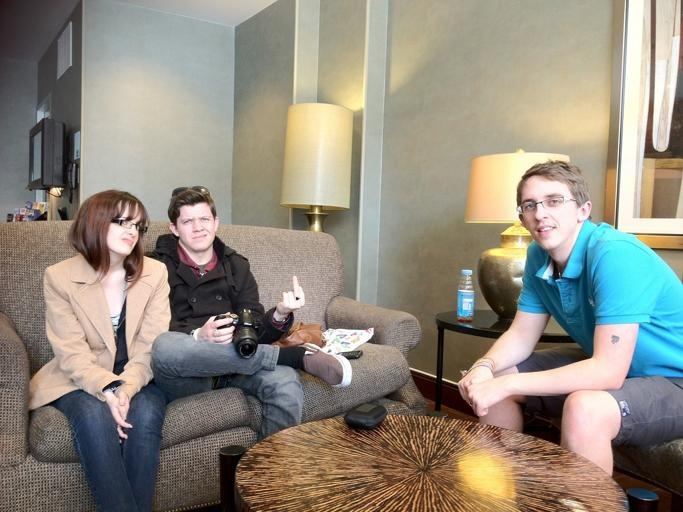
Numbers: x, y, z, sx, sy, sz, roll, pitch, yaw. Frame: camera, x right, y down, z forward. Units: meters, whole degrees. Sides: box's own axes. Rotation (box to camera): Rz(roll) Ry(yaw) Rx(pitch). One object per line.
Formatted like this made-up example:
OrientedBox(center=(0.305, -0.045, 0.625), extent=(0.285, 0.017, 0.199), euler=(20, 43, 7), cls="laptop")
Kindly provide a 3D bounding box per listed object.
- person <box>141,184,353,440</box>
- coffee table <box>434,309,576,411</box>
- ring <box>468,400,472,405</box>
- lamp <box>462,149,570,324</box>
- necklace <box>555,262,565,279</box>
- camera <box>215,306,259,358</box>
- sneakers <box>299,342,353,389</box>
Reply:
OrientedBox(center=(-0.499, 0.239, 2.186), extent=(0.933, 1.050, 0.683), euler=(3, 3, 29), cls="person")
OrientedBox(center=(0.650, 0.415, 2.514), extent=(0.507, 0.370, 0.512), euler=(0, 1, 28), cls="coffee table")
OrientedBox(center=(0.441, 0.502, 1.774), extent=(0.014, 0.009, 0.018), euler=(0, -5, 1), cls="ring")
OrientedBox(center=(0.827, -0.088, 2.489), extent=(0.466, 0.686, 0.450), euler=(5, 8, 1), cls="lamp")
OrientedBox(center=(0.804, 0.052, 1.904), extent=(0.019, 0.050, 0.036), euler=(11, -13, -33), cls="necklace")
OrientedBox(center=(-0.405, 0.290, 1.999), extent=(0.155, 0.184, 0.240), euler=(-3, 12, -10), cls="camera")
OrientedBox(center=(-0.088, 0.432, 2.145), extent=(0.270, 0.106, 0.105), euler=(24, 15, 37), cls="sneakers")
